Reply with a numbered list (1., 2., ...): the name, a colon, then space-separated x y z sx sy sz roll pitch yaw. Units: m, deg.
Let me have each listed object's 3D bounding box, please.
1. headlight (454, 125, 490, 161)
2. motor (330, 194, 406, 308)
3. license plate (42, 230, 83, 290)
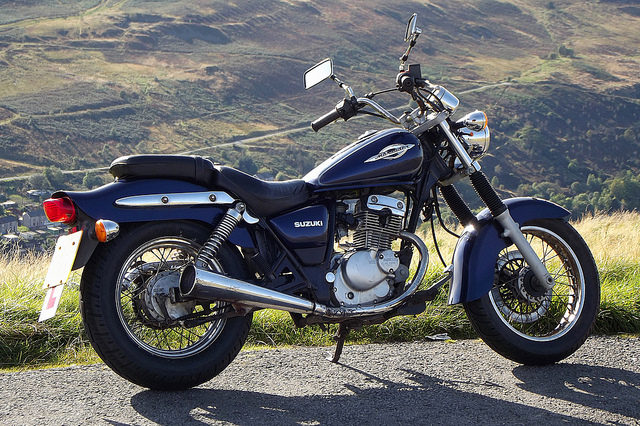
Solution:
1. headlight: 1.596 -0.743 7.016 0.226 0.175 0.304 -15 -20 -47
2. motor: 0.416 0.397 6.726 0.779 1.006 0.494 9 -9 -13
3. license plate: -2.225 0.399 5.949 0.308 0.485 0.272 5 15 19
